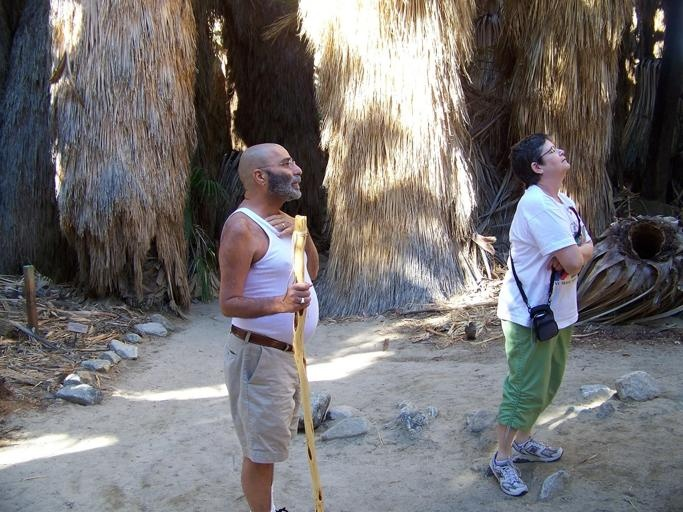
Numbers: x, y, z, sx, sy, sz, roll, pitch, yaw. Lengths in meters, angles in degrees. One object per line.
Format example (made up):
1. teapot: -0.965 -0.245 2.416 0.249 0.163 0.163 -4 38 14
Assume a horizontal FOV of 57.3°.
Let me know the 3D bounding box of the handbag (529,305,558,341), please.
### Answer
1. handbag: 1.238 0.417 3.885 0.115 0.214 0.102 -15 -12 12

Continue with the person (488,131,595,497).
1. person: 1.279 0.364 4.062 0.506 2.225 0.752 6 15 38

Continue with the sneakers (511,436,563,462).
1. sneakers: 1.319 1.325 4.341 0.365 0.230 0.153 -1 3 2

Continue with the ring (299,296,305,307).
1. ring: -0.227 0.259 3.575 0.019 0.041 0.035 12 22 27

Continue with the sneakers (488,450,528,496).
1. sneakers: 1.060 1.414 4.128 0.122 0.174 0.340 -13 39 -25

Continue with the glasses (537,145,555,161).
1. glasses: 1.306 -0.681 4.020 0.092 0.028 0.088 -51 -5 20
